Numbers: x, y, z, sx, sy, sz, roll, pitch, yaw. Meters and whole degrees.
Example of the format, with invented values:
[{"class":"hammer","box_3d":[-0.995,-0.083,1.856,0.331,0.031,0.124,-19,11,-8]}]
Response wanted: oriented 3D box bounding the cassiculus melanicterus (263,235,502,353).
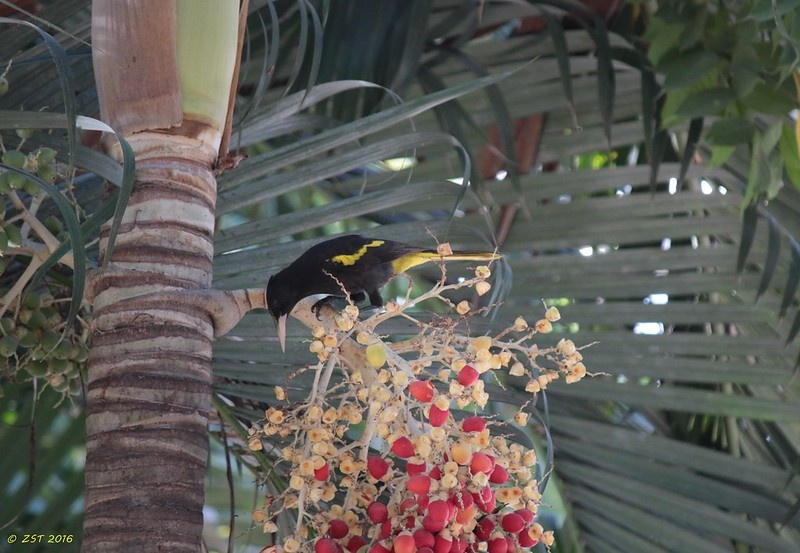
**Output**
[{"class":"cassiculus melanicterus","box_3d":[-0.051,-0.001,3.048,0.703,0.263,0.199,-12,-9,-15]}]
